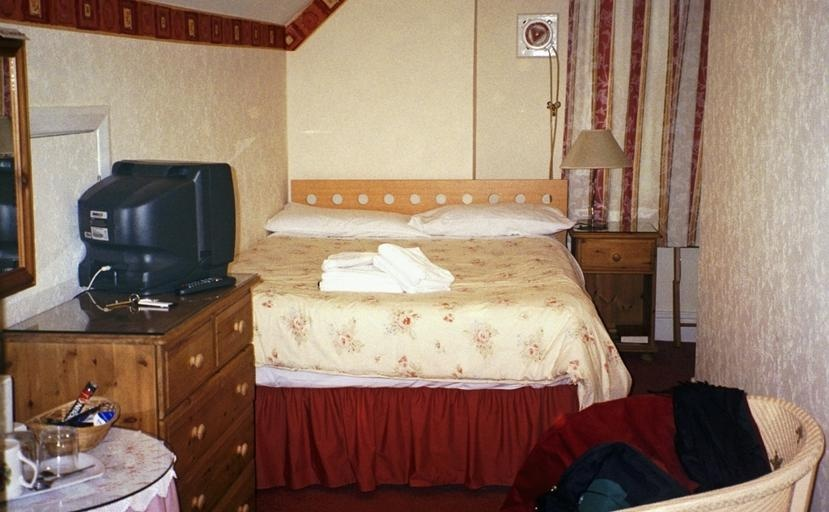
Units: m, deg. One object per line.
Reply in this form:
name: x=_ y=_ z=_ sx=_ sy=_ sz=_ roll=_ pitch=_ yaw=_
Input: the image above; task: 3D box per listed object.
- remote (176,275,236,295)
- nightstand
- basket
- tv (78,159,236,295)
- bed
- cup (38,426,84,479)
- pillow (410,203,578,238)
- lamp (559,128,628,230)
remote: x=-0.906 y=0.119 z=2.687 sx=0.170 sy=0.030 sz=0.078 roll=-7 pitch=6 yaw=-10
nightstand: x=1.621 y=0.274 z=4.922 sx=0.740 sy=0.900 sz=0.612 roll=1 pitch=7 yaw=13
basket: x=-1.105 y=0.540 z=2.025 sx=0.219 sy=0.081 sz=0.187 roll=-7 pitch=12 yaw=-37
tv: x=-1.191 y=-0.159 z=2.821 sx=0.603 sy=0.500 sz=0.600 roll=10 pitch=16 yaw=30
bed: x=0.078 y=0.534 z=3.947 sx=1.912 sy=0.849 sz=1.680 roll=0 pitch=28 yaw=3
cup: x=-1.096 y=0.600 z=1.910 sx=0.147 sy=0.125 sz=0.120 roll=0 pitch=9 yaw=-18
pillow: x=0.574 y=-0.265 z=4.730 sx=0.875 sy=0.155 sz=0.464 roll=-1 pitch=18 yaw=3
lamp: x=1.411 y=-0.617 z=4.905 sx=0.560 sy=0.745 sz=0.550 roll=-11 pitch=17 yaw=-32
